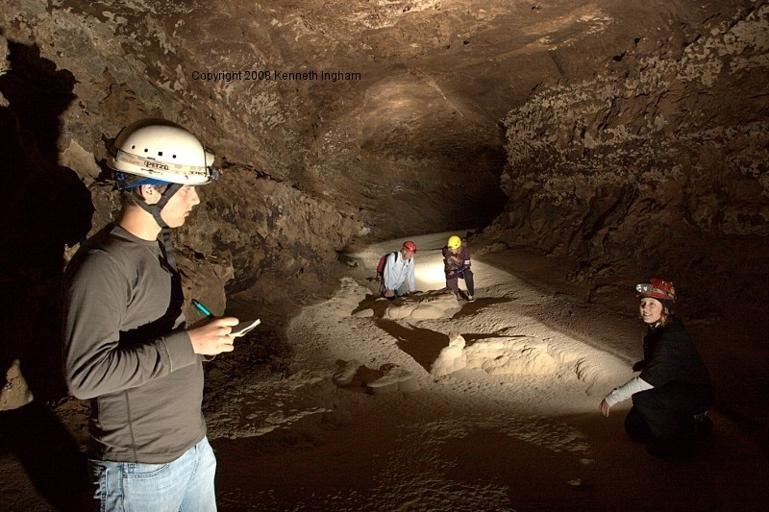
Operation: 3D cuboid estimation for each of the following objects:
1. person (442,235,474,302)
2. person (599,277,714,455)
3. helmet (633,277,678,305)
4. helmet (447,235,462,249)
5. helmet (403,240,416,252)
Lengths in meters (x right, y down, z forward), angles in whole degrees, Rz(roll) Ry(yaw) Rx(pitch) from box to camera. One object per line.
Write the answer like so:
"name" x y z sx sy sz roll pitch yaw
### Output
"person" 1.488 0.218 11.382 0.692 1.107 1.293 6 10 5
"person" 2.988 1.151 6.118 1.047 1.730 0.587 9 12 23
"helmet" 3.072 0.423 6.397 0.472 0.182 0.428 -7 11 -37
"helmet" 1.419 -0.253 11.736 0.341 0.166 0.354 -9 24 -8
"helmet" 0.519 -0.193 10.993 0.245 0.191 0.242 5 27 -18
